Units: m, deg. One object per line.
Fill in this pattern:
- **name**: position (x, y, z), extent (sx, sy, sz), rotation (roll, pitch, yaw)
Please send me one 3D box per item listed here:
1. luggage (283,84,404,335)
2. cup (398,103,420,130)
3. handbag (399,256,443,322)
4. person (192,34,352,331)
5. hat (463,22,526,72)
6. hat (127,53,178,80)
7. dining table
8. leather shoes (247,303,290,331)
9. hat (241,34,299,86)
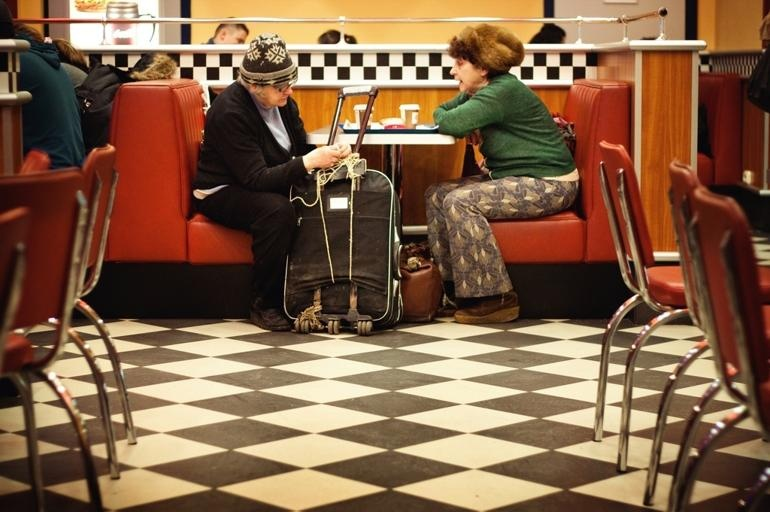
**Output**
- **luggage**: position (-0.238, -0.314, 4.034), extent (0.720, 1.458, 0.466), rotation (0, 1, 25)
- **cup**: position (0.155, -0.875, 4.249), extent (0.196, 0.167, 0.186), rotation (0, 5, 0)
- **handbag**: position (0.214, 0.226, 4.032), extent (0.271, 0.331, 0.354), rotation (1, 10, 11)
- **person**: position (-0.963, -0.391, 4.836), extent (1.172, 1.388, 1.559), rotation (3, 6, 5)
- **hat**: position (0.672, -1.309, 4.255), extent (0.361, 0.264, 0.192), rotation (17, 6, 3)
- **hat**: position (-1.577, -1.280, 4.552), extent (0.290, 0.193, 0.449), rotation (-3, 12, -14)
- **dining table**: position (0.086, -0.474, 4.523), extent (1.029, 0.900, 0.981), rotation (0, 11, 7)
- **leather shoes**: position (-0.690, 0.367, 3.985), extent (0.275, 0.082, 0.111), rotation (8, 12, 43)
- **hat**: position (-0.634, -1.139, 3.906), extent (0.354, 0.206, 0.258), rotation (13, 26, 28)
